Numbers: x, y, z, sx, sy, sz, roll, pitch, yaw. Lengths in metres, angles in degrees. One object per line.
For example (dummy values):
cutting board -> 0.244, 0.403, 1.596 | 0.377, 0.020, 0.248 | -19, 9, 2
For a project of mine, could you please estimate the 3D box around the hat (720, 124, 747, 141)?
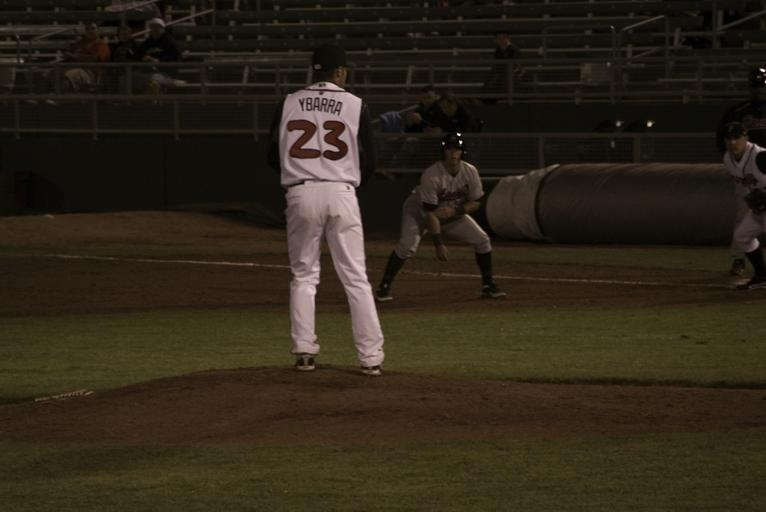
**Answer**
hat -> 4.959, -1.762, 20.094 | 0.247, 0.137, 0.303 | -1, 11, 16

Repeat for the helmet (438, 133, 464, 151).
helmet -> 0.988, -1.576, 19.509 | 0.310, 0.175, 0.385 | 1, 2, 1

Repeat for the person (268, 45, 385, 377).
person -> -0.611, -0.541, 16.432 | 1.333, 3.767, 0.665 | 1, 7, -3
